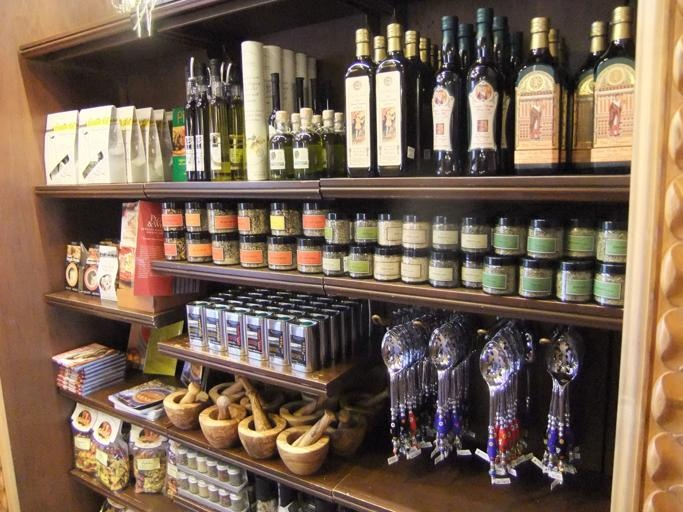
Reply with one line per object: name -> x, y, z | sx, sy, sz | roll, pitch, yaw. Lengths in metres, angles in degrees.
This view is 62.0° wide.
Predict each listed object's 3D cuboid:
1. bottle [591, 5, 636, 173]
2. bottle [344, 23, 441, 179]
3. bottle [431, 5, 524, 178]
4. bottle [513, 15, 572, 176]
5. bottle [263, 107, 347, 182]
bottle -> 0.747, -0.459, 1.569 | 0.099, 0.445, 0.076 | 1, 8, 24
bottle -> 0.149, -0.495, 1.842 | 0.286, 0.469, 0.139 | -1, 8, 9
bottle -> 0.429, -0.494, 1.745 | 0.198, 0.486, 0.229 | 5, 11, 44
bottle -> 0.576, -0.462, 1.657 | 0.140, 0.436, 0.150 | -3, 8, 0
bottle -> -0.124, -0.383, 1.995 | 0.274, 0.242, 0.095 | 2, 14, 7
